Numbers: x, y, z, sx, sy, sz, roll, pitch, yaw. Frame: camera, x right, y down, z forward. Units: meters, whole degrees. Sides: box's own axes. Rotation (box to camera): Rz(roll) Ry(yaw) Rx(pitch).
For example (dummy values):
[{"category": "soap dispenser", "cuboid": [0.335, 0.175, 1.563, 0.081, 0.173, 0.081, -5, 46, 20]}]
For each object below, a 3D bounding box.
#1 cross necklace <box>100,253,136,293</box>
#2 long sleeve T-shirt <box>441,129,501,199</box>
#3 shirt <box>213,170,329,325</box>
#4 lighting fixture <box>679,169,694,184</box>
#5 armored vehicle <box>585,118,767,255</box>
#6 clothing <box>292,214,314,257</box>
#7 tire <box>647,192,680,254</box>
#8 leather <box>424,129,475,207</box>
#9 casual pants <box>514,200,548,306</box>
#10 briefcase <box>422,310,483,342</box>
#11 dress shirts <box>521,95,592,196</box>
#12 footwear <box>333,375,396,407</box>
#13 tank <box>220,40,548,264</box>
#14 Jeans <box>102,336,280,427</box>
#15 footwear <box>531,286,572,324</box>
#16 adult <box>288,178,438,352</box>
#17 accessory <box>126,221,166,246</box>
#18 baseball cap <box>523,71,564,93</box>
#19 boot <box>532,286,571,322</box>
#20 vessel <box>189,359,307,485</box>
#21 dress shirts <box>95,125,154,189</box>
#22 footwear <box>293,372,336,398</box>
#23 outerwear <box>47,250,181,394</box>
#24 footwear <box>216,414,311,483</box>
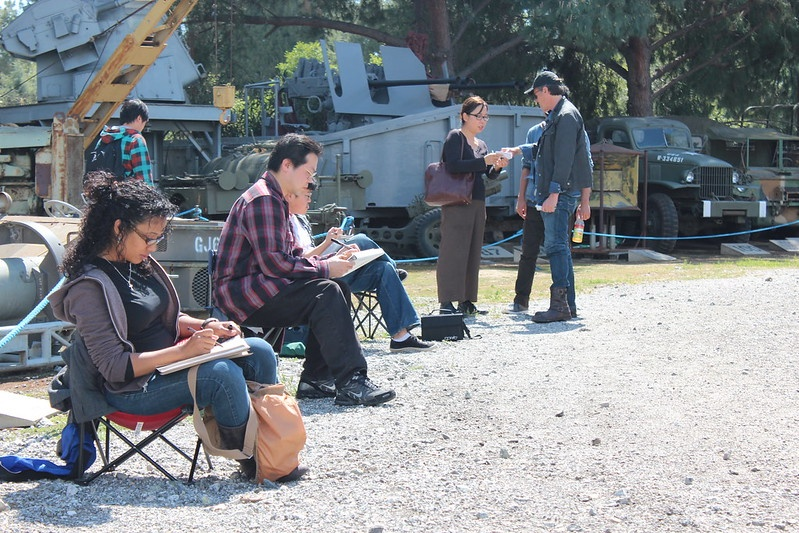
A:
[{"category": "cross necklace", "cuboid": [-1.789, 0.048, 6.830, 0.047, 0.184, 0.178, -40, -13, 13]}, {"category": "long sleeve T-shirt", "cuboid": [0.678, -0.962, 10.453, 0.648, 0.762, 0.652, -1, 1, 24]}, {"category": "shirt", "cuboid": [-1.059, -0.140, 7.839, 1.048, 1.185, 0.932, 2, 3, -4]}, {"category": "lighting fixture", "cuboid": [5.026, -1.578, 18.676, 0.205, 0.262, 0.230, 10, 24, 36]}, {"category": "armored vehicle", "cuboid": [4.877, -1.632, 18.985, 1.934, 1.846, 3.826, -2, 3, -26]}, {"category": "clothing", "cuboid": [-0.861, -0.267, 8.892, 0.111, 0.287, 0.220, -14, 25, -1]}, {"category": "tire", "cuboid": [4.449, -0.695, 18.264, 0.535, 0.980, 0.842, -5, 14, -14]}, {"category": "leather", "cuboid": [0.481, -0.800, 10.428, 0.473, 0.430, 0.268, 1, 14, 10]}, {"category": "casual pants", "cuboid": [1.334, -0.109, 11.010, 0.206, 0.931, 0.247, 5, 6, -32]}, {"category": "briefcase", "cuboid": [0.410, 0.589, 9.840, 0.457, 0.307, 0.252, -1, -8, -3]}, {"category": "dress shirts", "cuboid": [1.598, -1.167, 10.772, 0.639, 0.980, 1.067, -1, 6, -7]}, {"category": "footwear", "cuboid": [-0.272, 0.950, 7.960, 0.499, 0.292, 0.184, -1, 1, 2]}, {"category": "tank", "cuboid": [-0.299, -2.082, 18.296, 5.157, 3.579, 3.245, 0, 7, -2]}, {"category": "Jeans", "cuboid": [-1.464, 0.870, 7.090, 1.195, 0.430, 0.723, -13, 10, 14]}, {"category": "footwear", "cuboid": [1.535, 0.416, 10.517, 0.495, 0.376, 0.222, 0, 1, -19]}, {"category": "adult", "cuboid": [-0.238, 0.165, 9.167, 1.521, 1.958, 0.834, -3, 1, -3]}, {"category": "accessory", "cuboid": [-1.617, -0.205, 6.813, 0.171, 0.055, 0.170, -7, 7, 28]}, {"category": "baseball cap", "cuboid": [1.414, -1.842, 10.591, 0.391, 0.205, 0.284, -2, 8, 17]}, {"category": "boot", "cuboid": [1.491, 0.393, 10.559, 0.475, 0.356, 0.193, -8, 8, -31]}, {"category": "vessel", "cuboid": [-0.850, 1.085, 6.838, 0.824, 0.817, 0.595, -10, 0, -6]}, {"category": "dress shirts", "cuboid": [-2.745, -1.034, 10.551, 0.730, 0.699, 0.399, 3, 11, 32]}, {"category": "footwear", "cuboid": [-0.645, 0.964, 8.307, 0.360, 0.172, 0.128, 0, -3, -8]}, {"category": "outerwear", "cuboid": [-1.831, 0.383, 6.875, 0.607, 0.856, 0.859, -20, 4, 17]}, {"category": "footwear", "cuboid": [-0.842, 1.190, 6.841, 0.535, 0.508, 0.392, -24, -3, -11]}]
